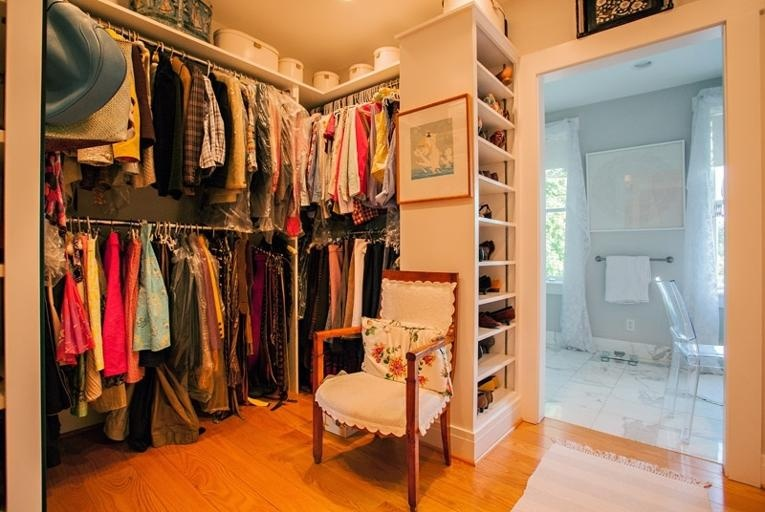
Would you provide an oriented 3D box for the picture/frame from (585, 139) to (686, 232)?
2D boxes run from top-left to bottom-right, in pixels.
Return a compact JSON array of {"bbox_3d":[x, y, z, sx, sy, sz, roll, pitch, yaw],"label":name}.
[{"bbox_3d":[2.626,-0.721,5.556,0.964,0.994,0.039,-1,-2,35],"label":"picture/frame"}]

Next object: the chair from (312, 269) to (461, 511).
[{"bbox_3d":[0.008,0.823,3.635,0.948,1.408,0.753,1,2,9],"label":"chair"}]

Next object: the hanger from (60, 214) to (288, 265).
[{"bbox_3d":[-1.466,-0.115,4.223,1.642,0.336,0.622,-2,3,-34],"label":"hanger"}]

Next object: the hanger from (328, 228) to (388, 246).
[{"bbox_3d":[-0.220,-0.166,4.552,0.214,0.111,0.600,-2,4,-43],"label":"hanger"}]

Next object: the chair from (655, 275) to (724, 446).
[{"bbox_3d":[2.504,0.743,4.486,0.500,1.104,1.529,2,3,32],"label":"chair"}]

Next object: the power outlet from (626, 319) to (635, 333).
[{"bbox_3d":[2.560,0.714,5.630,0.081,0.134,0.019,3,3,43],"label":"power outlet"}]

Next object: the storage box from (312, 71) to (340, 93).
[{"bbox_3d":[-0.504,-1.534,4.838,0.213,0.133,0.210,-11,18,-39],"label":"storage box"}]

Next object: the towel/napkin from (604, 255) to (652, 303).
[{"bbox_3d":[2.417,0.232,5.419,0.414,0.449,0.115,1,-3,33],"label":"towel/napkin"}]

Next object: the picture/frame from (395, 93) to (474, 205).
[{"bbox_3d":[0.388,-0.759,3.853,0.798,0.970,0.076,-1,-2,36],"label":"picture/frame"}]

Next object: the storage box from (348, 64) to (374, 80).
[{"bbox_3d":[-0.192,-1.571,4.653,0.179,0.107,0.185,7,15,28],"label":"storage box"}]
